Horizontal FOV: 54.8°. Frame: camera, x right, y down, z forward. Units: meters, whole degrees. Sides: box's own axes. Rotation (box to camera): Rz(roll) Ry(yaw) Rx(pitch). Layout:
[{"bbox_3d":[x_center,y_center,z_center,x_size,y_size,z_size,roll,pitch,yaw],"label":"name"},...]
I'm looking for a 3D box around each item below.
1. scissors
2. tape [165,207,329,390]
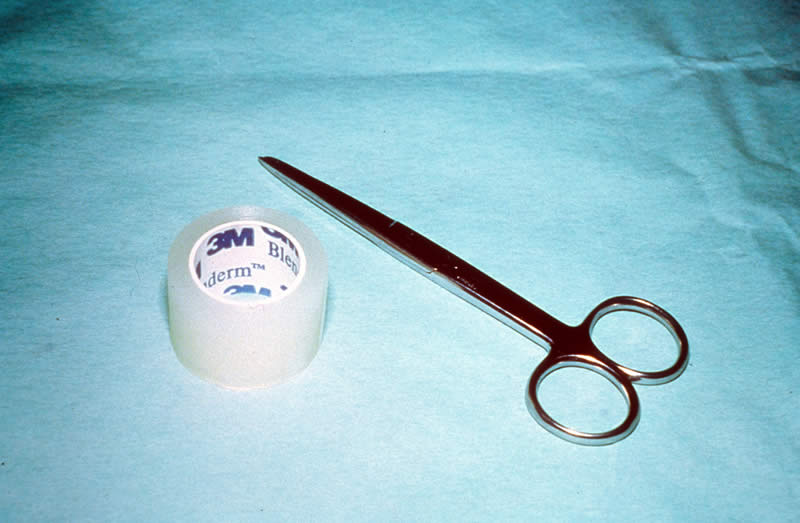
[{"bbox_3d":[0.042,0.022,0.778,0.464,0.019,0.167,24,57,11],"label":"scissors"},{"bbox_3d":[-0.140,0.032,0.733,0.142,0.090,0.171,-5,74,-6],"label":"tape"}]
